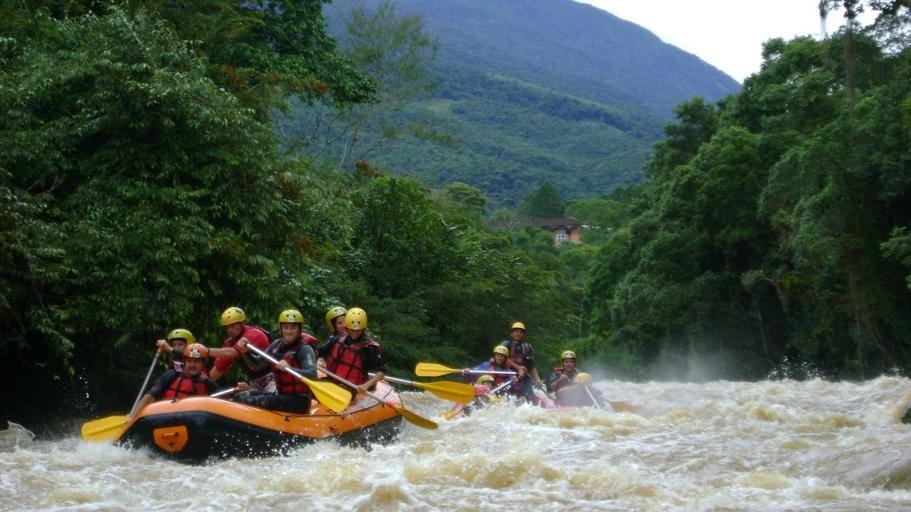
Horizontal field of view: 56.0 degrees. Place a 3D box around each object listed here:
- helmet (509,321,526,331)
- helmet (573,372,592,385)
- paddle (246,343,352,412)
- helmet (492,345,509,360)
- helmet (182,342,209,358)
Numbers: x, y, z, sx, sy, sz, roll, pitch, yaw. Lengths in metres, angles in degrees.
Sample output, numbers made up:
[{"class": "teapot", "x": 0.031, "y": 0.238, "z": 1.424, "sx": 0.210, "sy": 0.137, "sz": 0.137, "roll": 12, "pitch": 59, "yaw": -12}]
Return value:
[{"class": "helmet", "x": 2.079, "y": 2.276, "z": 28.659, "sx": 0.439, "sy": 0.263, "sz": 0.603, "roll": 5, "pitch": -13, "yaw": 2}, {"class": "helmet", "x": 4.047, "y": 3.961, "z": 27.528, "sx": 0.350, "sy": 0.333, "sz": 0.447, "roll": -7, "pitch": -1, "yaw": 1}, {"class": "paddle", "x": -4.296, "y": 3.317, "z": 22.967, "sx": 3.101, "sy": 0.646, "sz": 0.234, "roll": 30, "pitch": -18, "yaw": 9}, {"class": "helmet", "x": 1.451, "y": 3.172, "z": 28.135, "sx": 0.389, "sy": 0.472, "sz": 0.490, "roll": 10, "pitch": -5, "yaw": 5}, {"class": "helmet", "x": -6.984, "y": 2.571, "z": 23.082, "sx": 0.405, "sy": 0.559, "sz": 0.410, "roll": 4, "pitch": 4, "yaw": 1}]
